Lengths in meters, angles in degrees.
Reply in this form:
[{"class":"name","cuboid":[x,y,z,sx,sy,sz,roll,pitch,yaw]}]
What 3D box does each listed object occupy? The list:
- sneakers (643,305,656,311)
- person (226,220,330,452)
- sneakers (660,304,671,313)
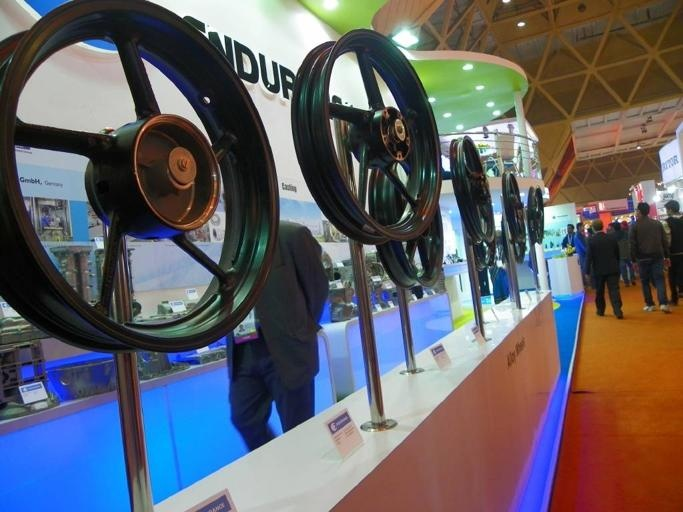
[{"class":"sneakers","cuboid":[4.187,0.726,5.922,0.064,0.069,0.132,-28,27,-29]},{"class":"person","cuboid":[-0.356,0.554,2.302,0.482,1.531,0.452,1,16,3]},{"class":"sneakers","cuboid":[4.266,0.718,5.724,0.073,0.095,0.204,1,-23,47]}]
